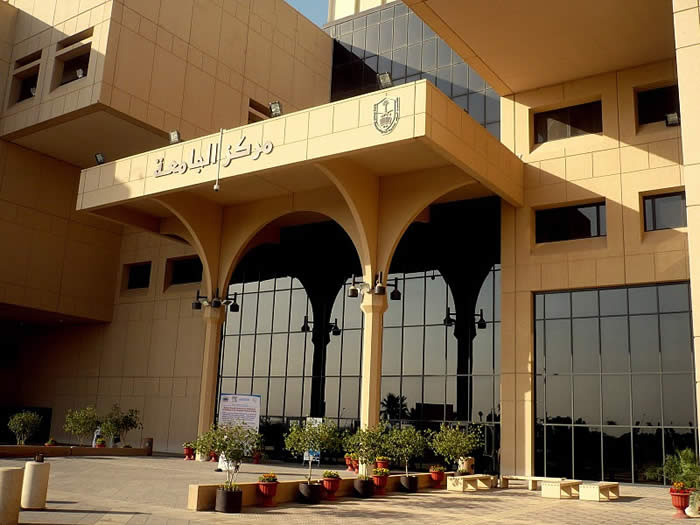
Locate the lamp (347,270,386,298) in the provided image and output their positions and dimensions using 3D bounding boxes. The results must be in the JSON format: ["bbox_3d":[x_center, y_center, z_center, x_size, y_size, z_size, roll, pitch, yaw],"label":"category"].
[{"bbox_3d":[0.688,0.849,24.633,1.826,1.135,1.013,-2,-8,30],"label":"lamp"}]

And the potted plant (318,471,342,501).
[{"bbox_3d":[-0.628,7.068,18.691,0.592,0.878,0.655,-2,-8,8],"label":"potted plant"}]

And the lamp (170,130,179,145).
[{"bbox_3d":[-8.468,-6.071,28.481,0.377,0.933,0.819,4,-14,-14],"label":"lamp"}]

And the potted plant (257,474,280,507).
[{"bbox_3d":[-2.401,6.730,17.437,0.630,0.957,0.611,-12,-21,39],"label":"potted plant"}]

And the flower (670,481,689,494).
[{"bbox_3d":[9.778,6.754,17.496,0.353,0.231,0.372,-4,-5,33],"label":"flower"}]

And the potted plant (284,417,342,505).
[{"bbox_3d":[-1.303,6.523,19.780,1.605,2.366,3.680,0,-14,1],"label":"potted plant"}]

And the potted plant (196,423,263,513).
[{"bbox_3d":[-3.476,5.782,17.005,2.012,2.950,1.979,4,-18,-15],"label":"potted plant"}]

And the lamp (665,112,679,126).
[{"bbox_3d":[13.389,-5.960,24.416,0.290,0.561,0.500,21,-22,-41],"label":"lamp"}]

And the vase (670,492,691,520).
[{"bbox_3d":[9.686,7.082,17.341,0.533,0.789,0.592,2,-17,-3],"label":"vase"}]

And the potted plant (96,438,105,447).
[{"bbox_3d":[-13.307,9.635,31.517,0.357,0.401,0.355,7,-11,-42],"label":"potted plant"}]
